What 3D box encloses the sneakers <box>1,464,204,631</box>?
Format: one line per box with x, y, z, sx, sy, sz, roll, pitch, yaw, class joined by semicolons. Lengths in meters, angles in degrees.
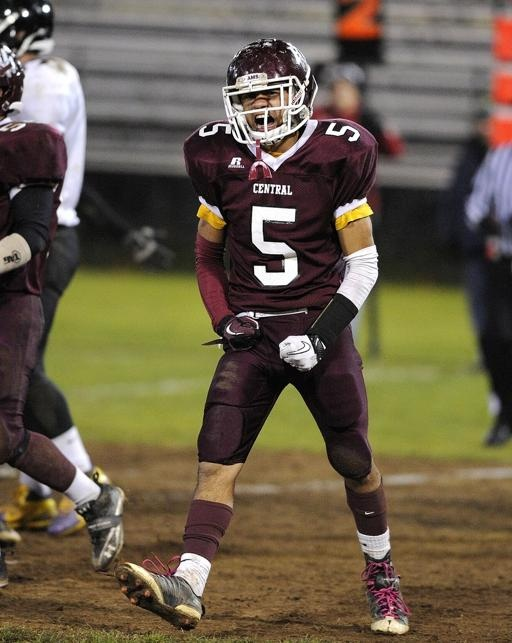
-0.362;0.703;2.338;0.216;0.296;0.634;-47;3;1;sneakers

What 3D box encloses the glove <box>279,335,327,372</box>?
0.138;0.081;2.186;0.127;0.086;0.051;2;51;44;glove

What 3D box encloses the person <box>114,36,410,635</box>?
0.044;-0.031;2.240;0.587;1.208;0.644;1;0;5;person

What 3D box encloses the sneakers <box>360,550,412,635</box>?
0.389;0.812;2.454;0.114;0.167;0.259;-6;34;2;sneakers

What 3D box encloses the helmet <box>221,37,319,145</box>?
0.078;-0.688;2.410;0.305;0.259;0.352;-6;21;25;helmet

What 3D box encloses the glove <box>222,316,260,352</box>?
-0.036;0.028;2.297;0.120;0.076;0.056;-22;0;41;glove
